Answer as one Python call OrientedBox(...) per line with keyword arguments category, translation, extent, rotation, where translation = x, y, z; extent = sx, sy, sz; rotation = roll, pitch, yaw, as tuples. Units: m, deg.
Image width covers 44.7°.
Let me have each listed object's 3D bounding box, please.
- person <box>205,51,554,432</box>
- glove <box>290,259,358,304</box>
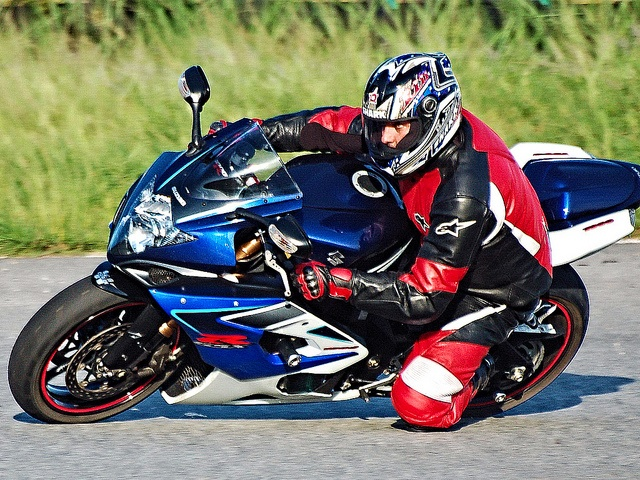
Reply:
OrientedBox(category="person", translation=(0.669, 0.050, 4.270), extent=(0.832, 2.040, 1.289), rotation=(17, 36, 35))
OrientedBox(category="glove", translation=(0.020, 0.207, 4.006), extent=(0.383, 0.145, 0.190), rotation=(9, 48, -26))
